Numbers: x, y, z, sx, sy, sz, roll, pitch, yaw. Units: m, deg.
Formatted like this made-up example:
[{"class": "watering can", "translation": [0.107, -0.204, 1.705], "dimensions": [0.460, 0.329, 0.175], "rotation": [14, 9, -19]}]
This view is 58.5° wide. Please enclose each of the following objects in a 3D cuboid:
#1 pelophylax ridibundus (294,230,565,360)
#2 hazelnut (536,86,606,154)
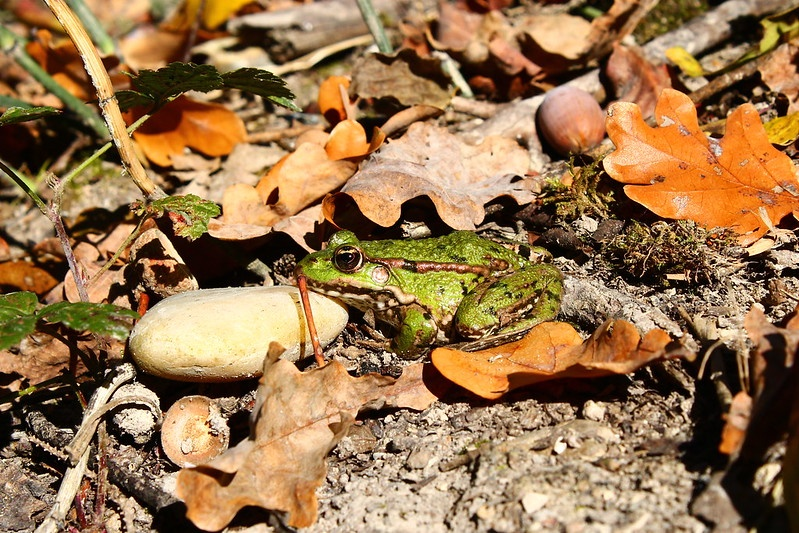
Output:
[{"class": "pelophylax ridibundus", "translation": [0.200, 0.096, 3.514], "dimensions": [1.219, 0.888, 0.637], "rotation": [0, 94, 22]}, {"class": "hazelnut", "translation": [0.929, -0.774, 3.872], "dimensions": [0.289, 0.269, 0.377], "rotation": [-38, 58, -14]}]
